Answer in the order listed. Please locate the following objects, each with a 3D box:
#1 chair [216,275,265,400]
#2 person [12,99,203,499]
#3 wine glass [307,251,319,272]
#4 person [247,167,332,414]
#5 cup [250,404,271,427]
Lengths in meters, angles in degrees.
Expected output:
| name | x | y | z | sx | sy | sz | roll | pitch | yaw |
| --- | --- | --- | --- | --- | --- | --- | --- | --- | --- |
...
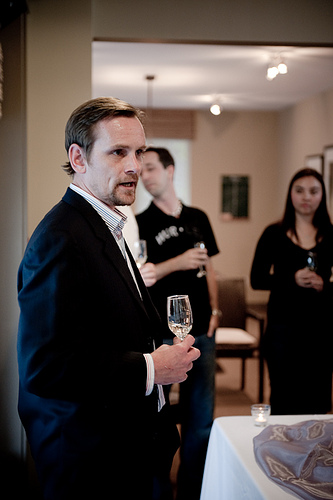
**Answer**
| name | x | y | z | sx | sy | sz | roll | pitch | yaw |
| --- | --- | --- | --- | --- | --- | --- | --- | --- | --- |
| chair | 0.325 | 0.442 | 2.415 | 0.319 | 0.524 | 0.340 | 2 | 4 | 0 |
| person | -0.164 | 0.175 | 1.155 | 0.479 | 0.979 | 0.299 | -5 | 0 | -40 |
| wine glass | 0.767 | 0.058 | 2.391 | 0.056 | 0.095 | 0.024 | 3 | 0 | 37 |
| person | 0.676 | 0.223 | 2.435 | 0.460 | 1.324 | 0.117 | -6 | 0 | 9 |
| cup | 0.316 | 0.550 | 1.526 | 0.051 | 0.052 | 0.056 | -1 | -4 | 0 |
